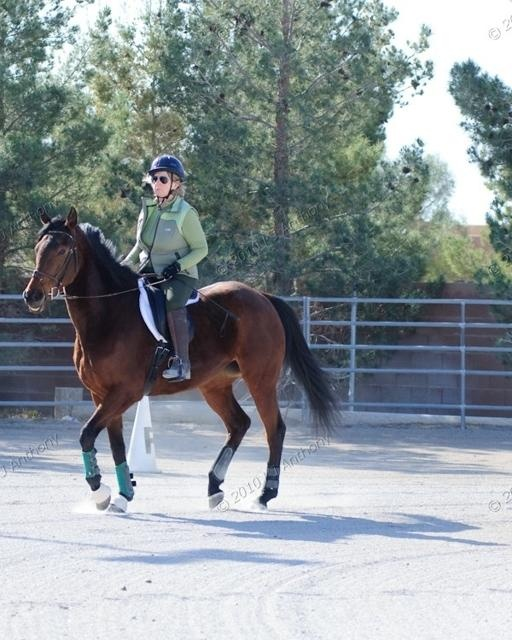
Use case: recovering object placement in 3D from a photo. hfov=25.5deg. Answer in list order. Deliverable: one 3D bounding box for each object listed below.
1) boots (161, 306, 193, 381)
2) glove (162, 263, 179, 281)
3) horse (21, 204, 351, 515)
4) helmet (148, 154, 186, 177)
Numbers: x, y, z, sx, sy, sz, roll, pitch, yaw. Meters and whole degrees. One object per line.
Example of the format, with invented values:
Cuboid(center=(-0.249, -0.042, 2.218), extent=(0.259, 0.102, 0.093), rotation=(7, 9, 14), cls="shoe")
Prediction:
Cuboid(center=(-0.594, 0.190, 8.558), extent=(0.209, 0.568, 0.334), rotation=(0, -2, -3), cls="boots")
Cuboid(center=(-0.639, -0.375, 8.656), extent=(0.161, 0.090, 0.063), rotation=(-37, 2, -19), cls="glove")
Cuboid(center=(-0.631, 0.430, 9.020), extent=(0.828, 2.189, 3.329), rotation=(-8, -8, 42), cls="horse")
Cuboid(center=(-0.666, -1.211, 8.820), extent=(0.250, 0.129, 0.178), rotation=(23, -11, -36), cls="helmet")
